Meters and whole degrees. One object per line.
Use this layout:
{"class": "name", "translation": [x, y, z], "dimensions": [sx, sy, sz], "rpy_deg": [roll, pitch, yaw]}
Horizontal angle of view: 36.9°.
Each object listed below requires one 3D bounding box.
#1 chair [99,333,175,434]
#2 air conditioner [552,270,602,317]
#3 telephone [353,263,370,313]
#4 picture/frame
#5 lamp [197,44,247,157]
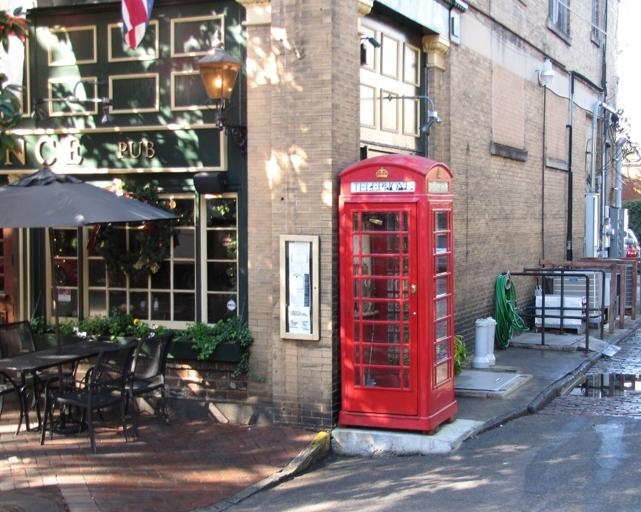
{"class": "chair", "translation": [-2.362, 1.674, 12.852], "dimensions": [0.663, 1.332, 0.798], "rpy_deg": [6, 8, 27]}
{"class": "air conditioner", "translation": [5.202, 0.685, 19.627], "dimensions": [0.783, 1.132, 0.927], "rpy_deg": [5, 7, 36]}
{"class": "telephone", "translation": [0.544, 0.412, 12.242], "dimensions": [0.230, 0.700, 0.103], "rpy_deg": [1, 8, 3]}
{"class": "picture/frame", "translation": [-0.277, 0.457, 12.490], "dimensions": [0.406, 1.553, 0.358], "rpy_deg": [3, 5, 22]}
{"class": "lamp", "translation": [-1.283, -2.093, 12.931], "dimensions": [0.545, 1.478, 0.712], "rpy_deg": [3, 9, 19]}
